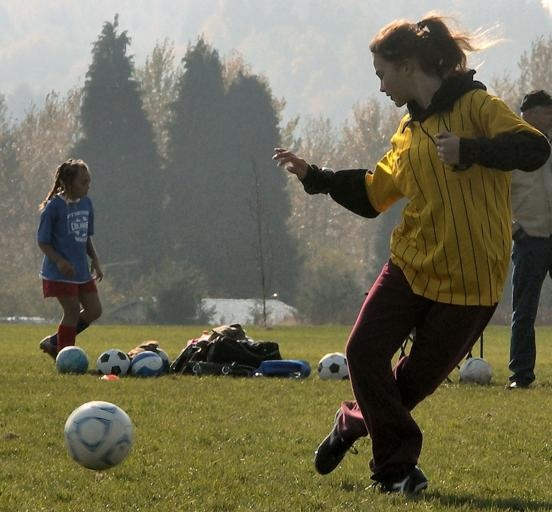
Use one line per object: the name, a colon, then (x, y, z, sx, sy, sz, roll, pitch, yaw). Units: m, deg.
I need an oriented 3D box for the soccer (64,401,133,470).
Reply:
soccer: (-1.195, 1.214, 7.718, 0.441, 0.467, 0.434, 6, 0, -1)

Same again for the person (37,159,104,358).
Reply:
person: (-2.192, 0.003, 11.841, 0.663, 2.177, 1.007, 0, -1, -11)

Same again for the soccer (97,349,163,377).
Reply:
soccer: (-1.493, 1.114, 11.407, 0.600, 0.297, 0.286, 2, 3, -13)

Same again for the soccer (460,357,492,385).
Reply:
soccer: (2.063, 1.216, 11.621, 0.268, 0.328, 0.283, -5, -5, -1)

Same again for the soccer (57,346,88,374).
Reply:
soccer: (-2.097, 1.072, 11.395, 0.314, 0.270, 0.385, 0, -2, -11)

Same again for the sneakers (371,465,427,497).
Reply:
sneakers: (0.854, 1.516, 7.492, 0.409, 0.200, 0.156, 1, -1, 13)
